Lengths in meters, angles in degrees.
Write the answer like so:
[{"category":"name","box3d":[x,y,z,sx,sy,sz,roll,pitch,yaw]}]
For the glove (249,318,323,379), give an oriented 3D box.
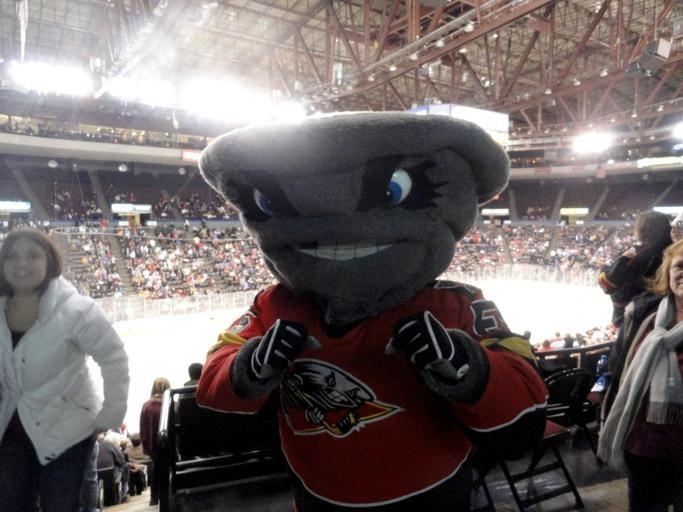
[{"category":"glove","box3d":[-0.293,0.451,2.684,0.353,0.219,0.137,-40,-2,-9]}]
